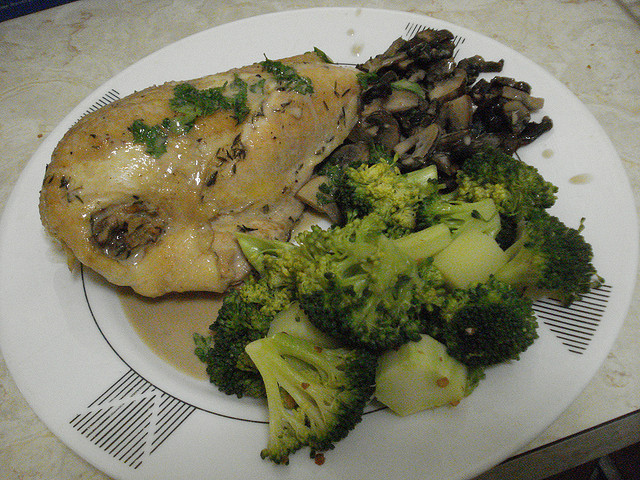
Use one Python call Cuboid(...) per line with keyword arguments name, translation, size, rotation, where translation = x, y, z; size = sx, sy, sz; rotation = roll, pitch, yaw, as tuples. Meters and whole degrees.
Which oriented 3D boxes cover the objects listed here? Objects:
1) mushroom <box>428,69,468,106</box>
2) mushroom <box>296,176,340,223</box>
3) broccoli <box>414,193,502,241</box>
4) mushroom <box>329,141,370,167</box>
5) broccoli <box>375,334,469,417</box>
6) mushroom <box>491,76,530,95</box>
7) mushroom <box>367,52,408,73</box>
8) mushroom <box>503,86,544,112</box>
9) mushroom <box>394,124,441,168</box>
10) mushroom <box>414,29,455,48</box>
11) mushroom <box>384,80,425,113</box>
Cuboid(name="mushroom", translation=(0.788, -0.993, 3.671), size=(0.220, 0.075, 0.228), rotation=(20, 66, 45))
Cuboid(name="mushroom", translation=(-0.035, -0.246, 3.669), size=(0.264, 0.069, 0.267), rotation=(28, 88, 11))
Cuboid(name="broccoli", translation=(0.772, -0.154, 3.462), size=(0.400, 0.481, 0.242), rotation=(13, 80, -29))
Cuboid(name="mushroom", translation=(0.184, -0.538, 3.767), size=(0.219, 0.052, 0.144), rotation=(-22, 56, 4))
Cuboid(name="broccoli", translation=(0.578, 0.681, 3.234), size=(0.447, 0.161, 0.517), rotation=(-9, 32, 5))
Cuboid(name="mushroom", translation=(1.194, -0.974, 3.732), size=(0.167, 0.046, 0.108), rotation=(14, 49, 18))
Cuboid(name="mushroom", translation=(0.419, -1.144, 3.789), size=(0.176, 0.049, 0.145), rotation=(-21, 48, 8))
Cuboid(name="mushroom", translation=(1.250, -0.871, 3.686), size=(0.231, 0.059, 0.132), rotation=(14, 66, -6))
Cuboid(name="mushroom", translation=(0.596, -0.564, 3.614), size=(0.271, 0.069, 0.205), rotation=(-41, 76, 8))
Cuboid(name="mushroom", translation=(0.732, -1.311, 3.843), size=(0.160, 0.044, 0.163), rotation=(-17, 62, -14))
Cuboid(name="mushroom", translation=(0.521, -0.887, 3.703), size=(0.226, 0.059, 0.179), rotation=(-31, 70, -10))
